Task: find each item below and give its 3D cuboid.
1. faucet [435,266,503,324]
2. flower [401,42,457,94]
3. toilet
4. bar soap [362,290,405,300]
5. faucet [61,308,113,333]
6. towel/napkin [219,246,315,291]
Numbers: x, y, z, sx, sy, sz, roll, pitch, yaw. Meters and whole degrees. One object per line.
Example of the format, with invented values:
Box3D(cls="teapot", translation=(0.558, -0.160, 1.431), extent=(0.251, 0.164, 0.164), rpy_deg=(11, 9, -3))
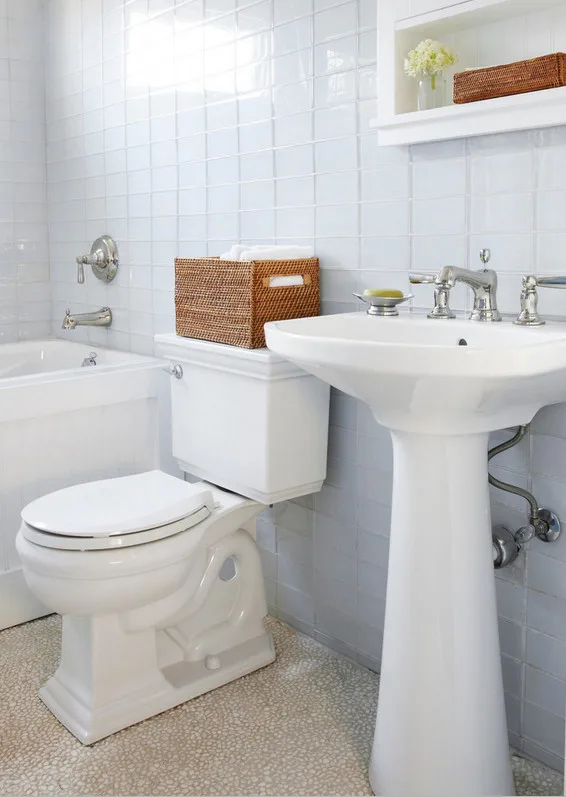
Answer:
Box3D(cls="faucet", translation=(0.318, -0.182, 1.115), extent=(0.159, 0.115, 0.064), rpy_deg=(1, 2, -33))
Box3D(cls="flower", translation=(0.266, -0.604, 1.178), extent=(0.087, 0.086, 0.087), rpy_deg=(-36, 42, -23))
Box3D(cls="toilet", translation=(-0.334, 0.266, 1.753), extent=(0.898, 0.998, 0.642), rpy_deg=(-3, 8, -43))
Box3D(cls="bar soap", translation=(0.190, -0.194, 1.206), extent=(0.071, 0.016, 0.023), rpy_deg=(4, 9, 2))
Box3D(cls="faucet", translation=(-0.743, -0.294, 2.402), extent=(0.172, 0.097, 0.102), rpy_deg=(-6, 12, -39))
Box3D(cls="towel/napkin", translation=(-0.043, -0.282, 1.494), extent=(0.149, 0.055, 0.149), rpy_deg=(-9, 12, -38))
